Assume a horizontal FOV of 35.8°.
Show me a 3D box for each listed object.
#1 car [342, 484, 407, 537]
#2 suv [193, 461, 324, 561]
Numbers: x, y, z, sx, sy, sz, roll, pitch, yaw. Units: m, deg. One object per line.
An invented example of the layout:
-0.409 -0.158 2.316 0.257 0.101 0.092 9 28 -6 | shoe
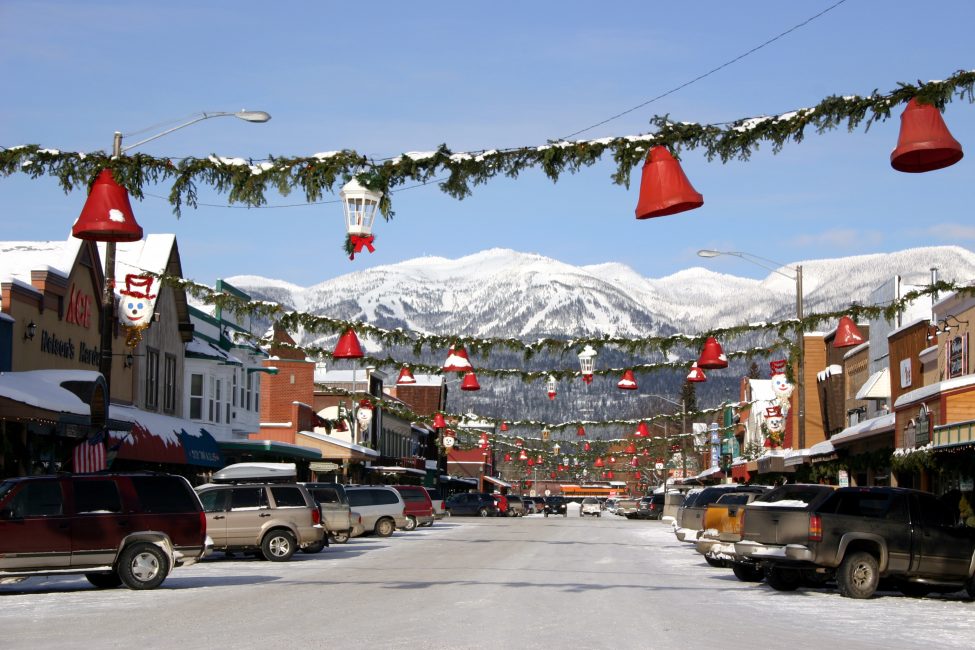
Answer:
-4.220 7.337 57.799 1.878 2.342 3.595 -3 3 -44 | car
-6.603 5.317 42.845 3.776 2.340 2.302 3 -6 -4 | suv
